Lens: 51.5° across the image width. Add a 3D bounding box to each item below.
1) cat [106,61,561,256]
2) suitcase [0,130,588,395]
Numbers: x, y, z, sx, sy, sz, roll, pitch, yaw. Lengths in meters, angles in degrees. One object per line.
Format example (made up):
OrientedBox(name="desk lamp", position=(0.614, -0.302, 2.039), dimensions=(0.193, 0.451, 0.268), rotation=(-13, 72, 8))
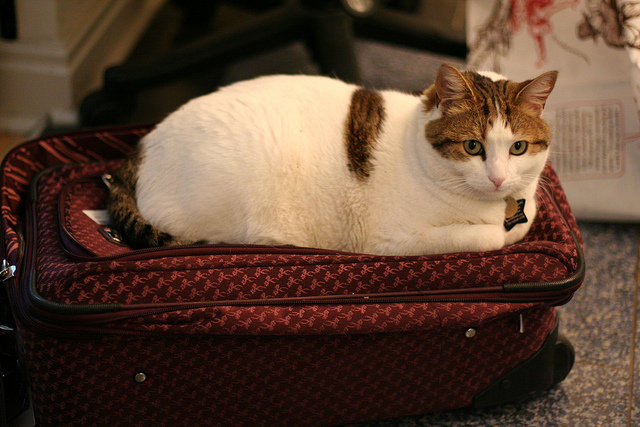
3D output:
OrientedBox(name="cat", position=(0.037, -0.191, 1.840), dimensions=(1.052, 0.427, 0.546), rotation=(0, 15, -2))
OrientedBox(name="suitcase", position=(-0.136, 0.182, 1.673), dimensions=(1.049, 0.319, 0.721), rotation=(0, 30, -6))
